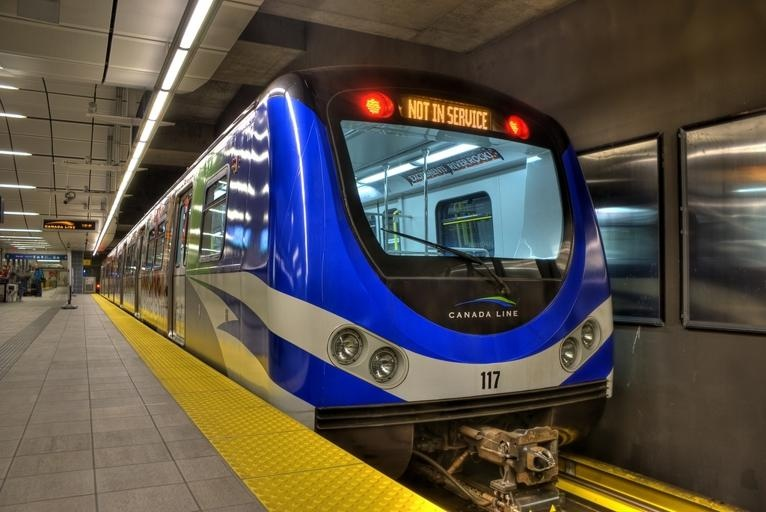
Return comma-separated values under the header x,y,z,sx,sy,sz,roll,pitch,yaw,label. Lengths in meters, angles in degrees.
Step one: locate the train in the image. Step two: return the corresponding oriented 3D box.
x,y,z,sx,sy,sz,roll,pitch,yaw,label
-1.147,0.027,7.319,1.877,2.660,8.324,2,1,-22,train
